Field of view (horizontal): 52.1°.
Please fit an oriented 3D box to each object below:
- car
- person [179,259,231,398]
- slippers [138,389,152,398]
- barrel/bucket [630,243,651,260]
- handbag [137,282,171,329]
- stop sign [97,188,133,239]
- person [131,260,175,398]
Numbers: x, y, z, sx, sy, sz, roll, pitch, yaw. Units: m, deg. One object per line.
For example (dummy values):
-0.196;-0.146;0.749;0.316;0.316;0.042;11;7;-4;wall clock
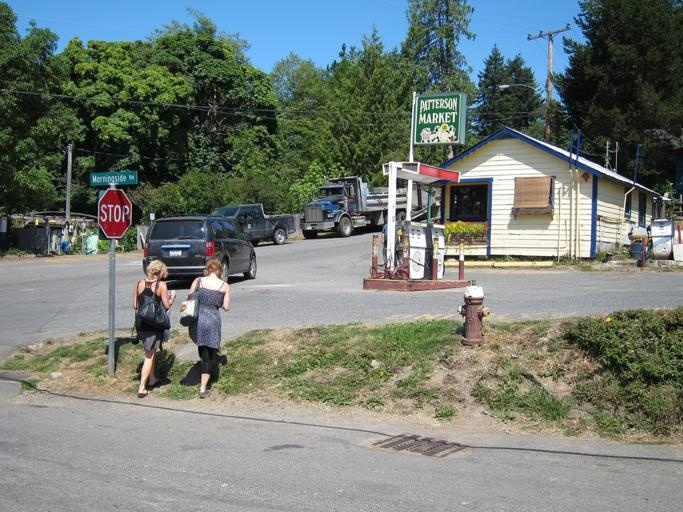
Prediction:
-3.959;-0.367;20.517;2.403;2.726;4.222;1;5;3;car
-2.254;1.171;11.556;0.758;2.287;0.805;2;0;-13;person
-3.218;2.241;11.483;0.117;0.138;0.337;2;0;15;slippers
10.933;-0.199;25.347;0.813;0.858;0.652;2;1;15;barrel/bucket
-3.060;0.806;11.329;0.598;0.736;0.363;-2;-6;13;handbag
-3.942;-0.746;12.117;0.545;0.939;0.655;2;0;-11;stop sign
-3.084;1.143;11.563;0.602;2.045;0.914;0;0;0;person
